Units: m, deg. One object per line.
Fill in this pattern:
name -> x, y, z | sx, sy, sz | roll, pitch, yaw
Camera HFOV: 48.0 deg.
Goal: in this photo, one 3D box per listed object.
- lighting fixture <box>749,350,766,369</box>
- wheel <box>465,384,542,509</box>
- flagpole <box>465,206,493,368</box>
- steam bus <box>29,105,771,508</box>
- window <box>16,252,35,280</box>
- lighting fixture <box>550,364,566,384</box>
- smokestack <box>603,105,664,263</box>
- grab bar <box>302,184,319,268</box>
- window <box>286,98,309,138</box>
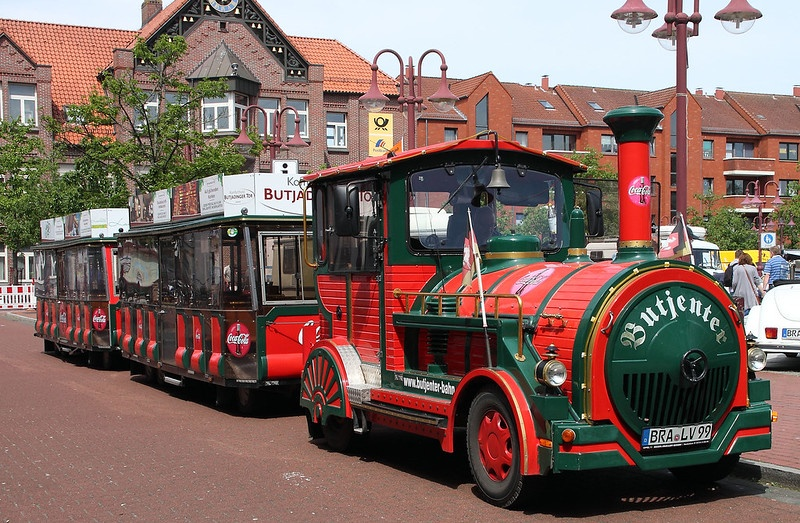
lighting fixture -> 4.073, 1.107, 10.421 | 0.125, 0.259, 0.267 | 2, 4, 43
wheel -> 1.093, 2.070, 10.173 | 0.255, 1.356, 0.993 | -3, 4, -39
flagpole -> 0.852, 0.310, 10.779 | 0.328, 1.558, 0.286 | 1, 0, -42
steam bus -> 1.491, 0.411, 11.377 | 2.746, 4.549, 5.339 | -4, 4, -44
window -> -19.894, 0.178, 47.722 | 0.743, 1.349, 1.373 | 2, -4, -25
lighting fixture -> 1.634, 1.183, 9.651 | 0.182, 0.199, 0.073 | 4, -6, -39
smokestack -> 2.708, -0.887, 10.712 | 0.747, 1.793, 0.669 | 2, 0, 7
grab bar -> -1.329, -0.550, 13.374 | 0.278, 1.282, 0.164 | -5, -8, 17
window -> -5.458, -7.446, 47.149 | 1.298, 2.520, 0.189 | 3, 43, -1
